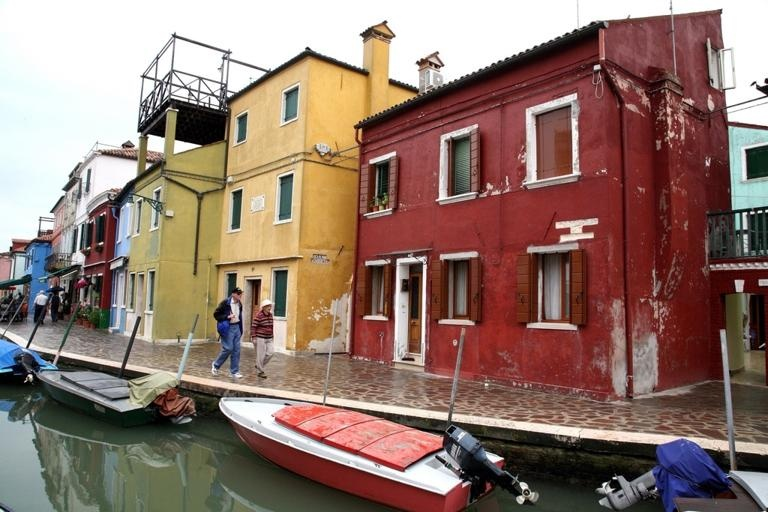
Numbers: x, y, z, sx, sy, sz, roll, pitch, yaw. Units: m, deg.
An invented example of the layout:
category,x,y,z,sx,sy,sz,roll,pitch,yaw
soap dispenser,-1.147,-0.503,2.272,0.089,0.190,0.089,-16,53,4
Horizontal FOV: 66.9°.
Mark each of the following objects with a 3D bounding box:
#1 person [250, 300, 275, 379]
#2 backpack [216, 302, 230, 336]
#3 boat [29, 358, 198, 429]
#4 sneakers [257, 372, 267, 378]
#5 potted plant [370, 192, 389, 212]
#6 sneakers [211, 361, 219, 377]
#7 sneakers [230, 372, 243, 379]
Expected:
category,x,y,z,sx,sy,sz,roll,pitch,yaw
person,-3.395,2.262,16.137,0.578,2.112,1.427,3,-9,-13
backpack,-4.277,1.754,15.441,0.264,0.767,0.529,7,0,7
boat,-6.918,3.449,14.570,4.992,1.237,1.607,6,0,31
sneakers,-3.234,3.171,15.410,0.099,0.104,0.249,4,-7,-37
potted plant,-0.163,-1.676,18.763,0.683,0.728,0.560,5,7,36
sneakers,-4.562,3.065,15.649,0.140,0.335,0.119,-41,-29,29
sneakers,-3.867,3.156,15.270,0.304,0.118,0.121,-5,-8,37
